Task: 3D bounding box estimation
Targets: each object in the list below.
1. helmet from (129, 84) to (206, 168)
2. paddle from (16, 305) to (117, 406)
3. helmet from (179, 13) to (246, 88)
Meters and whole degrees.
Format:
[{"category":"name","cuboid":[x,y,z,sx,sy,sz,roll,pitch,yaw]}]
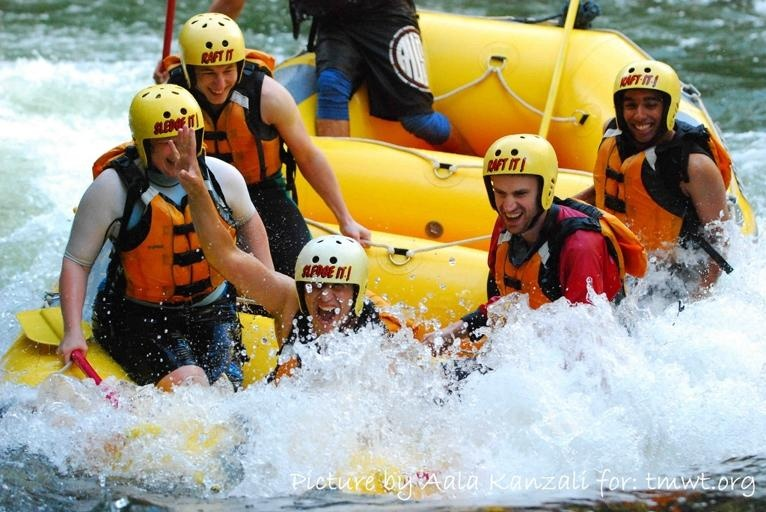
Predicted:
[{"category":"helmet","cuboid":[-1.290,-0.818,5.867,0.390,0.409,0.511,-10,26,-29]},{"category":"paddle","cuboid":[-1.950,0.698,5.932,0.398,0.173,0.734,-25,51,-22]},{"category":"helmet","cuboid":[-1.092,-1.364,6.370,0.318,0.346,0.437,-7,32,-15]}]
